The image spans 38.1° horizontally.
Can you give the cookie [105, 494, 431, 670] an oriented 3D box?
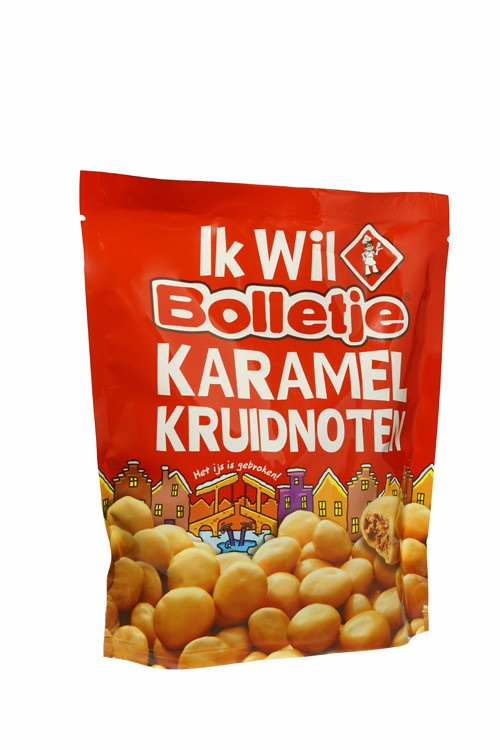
[{"bbox_3d":[0.026,0.445,1.579,0.686,0.334,0.194,5,-40,-9],"label":"cookie"}]
